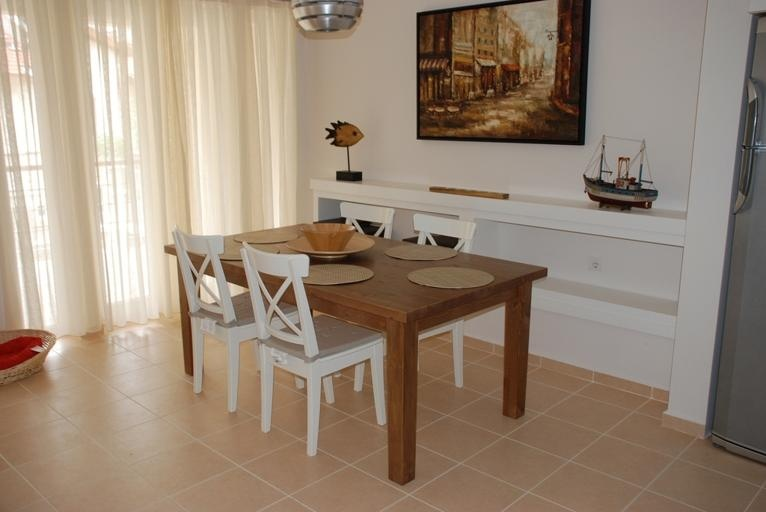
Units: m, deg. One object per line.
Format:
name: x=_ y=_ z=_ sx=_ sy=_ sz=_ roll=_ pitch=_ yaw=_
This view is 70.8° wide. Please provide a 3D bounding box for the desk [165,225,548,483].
desk: x=-0.176 y=0.478 z=3.942 sx=1.373 sy=0.889 sz=2.152 roll=-10 pitch=16 yaw=-38
